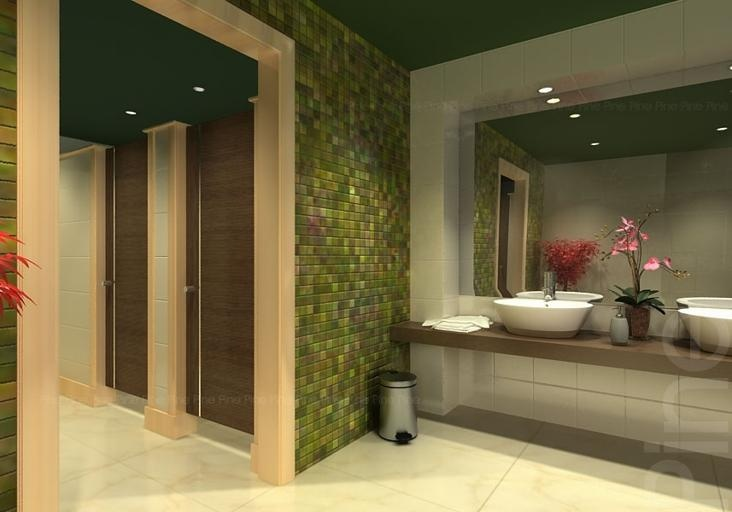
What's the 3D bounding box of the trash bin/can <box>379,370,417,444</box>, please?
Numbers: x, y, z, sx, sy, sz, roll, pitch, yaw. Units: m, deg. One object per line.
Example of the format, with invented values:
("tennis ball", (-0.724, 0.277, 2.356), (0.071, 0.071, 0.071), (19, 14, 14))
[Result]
("trash bin/can", (0.237, 1.127, 3.823), (0.355, 0.475, 0.477), (0, -5, -2))
